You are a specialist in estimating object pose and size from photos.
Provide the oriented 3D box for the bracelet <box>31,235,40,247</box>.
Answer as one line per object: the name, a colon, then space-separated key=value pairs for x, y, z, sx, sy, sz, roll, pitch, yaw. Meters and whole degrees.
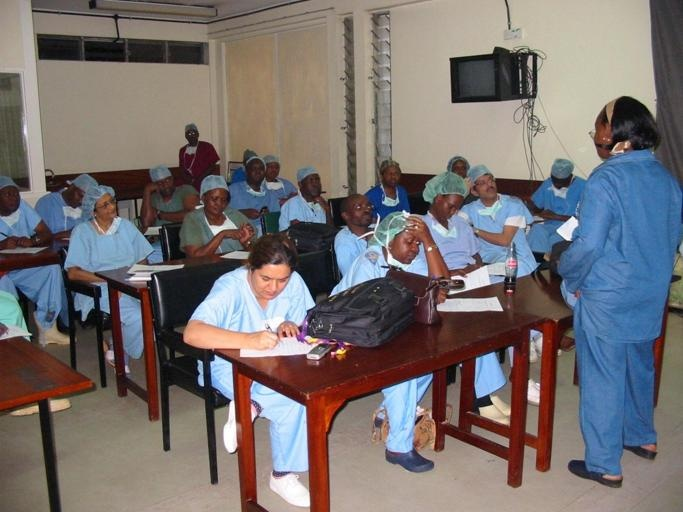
bracelet: x=-2.711 y=-0.137 z=4.922 sx=0.059 sy=0.024 sz=0.088 roll=-22 pitch=43 yaw=4

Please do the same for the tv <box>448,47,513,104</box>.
tv: x=1.445 y=-1.867 z=5.890 sx=0.568 sy=0.566 sz=0.518 roll=-11 pitch=13 yaw=-38

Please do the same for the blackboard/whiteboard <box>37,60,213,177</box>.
blackboard/whiteboard: x=-3.502 y=-2.125 z=8.696 sx=2.276 sy=1.542 sz=0.039 roll=-7 pitch=14 yaw=-35

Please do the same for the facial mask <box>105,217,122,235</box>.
facial mask: x=-1.861 y=-0.254 z=4.532 sx=0.085 sy=0.158 sz=0.051 roll=34 pitch=-14 yaw=-38

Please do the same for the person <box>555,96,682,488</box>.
person: x=1.498 y=0.208 z=3.048 sx=0.597 sy=2.080 sz=0.339 roll=-8 pitch=13 yaw=-26

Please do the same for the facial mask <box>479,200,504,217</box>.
facial mask: x=1.255 y=-0.376 z=4.706 sx=0.113 sy=0.177 sz=0.084 roll=2 pitch=-5 yaw=5

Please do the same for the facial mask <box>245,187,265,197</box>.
facial mask: x=-0.981 y=-0.722 z=6.301 sx=0.117 sy=0.059 sz=0.157 roll=-3 pitch=13 yaw=-35

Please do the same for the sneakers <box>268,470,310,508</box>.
sneakers: x=-0.272 y=1.253 z=3.056 sx=0.254 sy=0.115 sz=0.131 roll=18 pitch=15 yaw=29

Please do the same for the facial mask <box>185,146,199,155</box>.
facial mask: x=-2.270 y=-1.591 z=8.360 sx=0.137 sy=0.157 sz=0.046 roll=-2 pitch=-9 yaw=35

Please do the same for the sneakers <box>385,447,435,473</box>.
sneakers: x=0.397 y=1.178 z=3.301 sx=0.247 sy=0.122 sz=0.130 roll=1 pitch=6 yaw=24

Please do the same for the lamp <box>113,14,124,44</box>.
lamp: x=-3.560 y=-3.583 z=8.792 sx=0.094 sy=0.418 sz=0.113 roll=0 pitch=12 yaw=9

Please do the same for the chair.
chair: x=-0.571 y=0.480 z=3.254 sx=1.210 sy=1.790 sz=1.341 roll=-3 pitch=6 yaw=-28

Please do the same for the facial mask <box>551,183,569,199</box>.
facial mask: x=2.369 y=-0.711 z=6.023 sx=0.113 sy=0.153 sz=0.052 roll=14 pitch=11 yaw=21

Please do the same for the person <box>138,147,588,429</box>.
person: x=0.179 y=0.200 z=3.747 sx=1.053 sy=1.065 sz=1.972 roll=8 pitch=13 yaw=41

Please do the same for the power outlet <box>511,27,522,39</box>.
power outlet: x=1.967 y=-2.495 z=6.225 sx=0.117 sy=0.123 sz=0.174 roll=1 pitch=14 yaw=17

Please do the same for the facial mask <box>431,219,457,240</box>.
facial mask: x=0.756 y=-0.223 z=4.133 sx=0.150 sy=0.084 sz=0.107 roll=25 pitch=36 yaw=18

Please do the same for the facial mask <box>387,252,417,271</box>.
facial mask: x=0.325 y=0.027 z=3.238 sx=0.121 sy=0.037 sz=0.123 roll=-5 pitch=20 yaw=-36

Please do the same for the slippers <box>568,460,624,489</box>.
slippers: x=1.415 y=1.222 z=3.134 sx=0.105 sy=0.122 sz=0.295 roll=-8 pitch=6 yaw=-36

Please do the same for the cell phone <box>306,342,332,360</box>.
cell phone: x=-0.098 y=0.434 z=2.604 sx=0.081 sy=0.041 sz=0.159 roll=3 pitch=15 yaw=24

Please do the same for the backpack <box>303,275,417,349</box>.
backpack: x=0.133 y=0.217 z=2.721 sx=0.287 sy=0.174 sz=0.434 roll=16 pitch=24 yaw=41
